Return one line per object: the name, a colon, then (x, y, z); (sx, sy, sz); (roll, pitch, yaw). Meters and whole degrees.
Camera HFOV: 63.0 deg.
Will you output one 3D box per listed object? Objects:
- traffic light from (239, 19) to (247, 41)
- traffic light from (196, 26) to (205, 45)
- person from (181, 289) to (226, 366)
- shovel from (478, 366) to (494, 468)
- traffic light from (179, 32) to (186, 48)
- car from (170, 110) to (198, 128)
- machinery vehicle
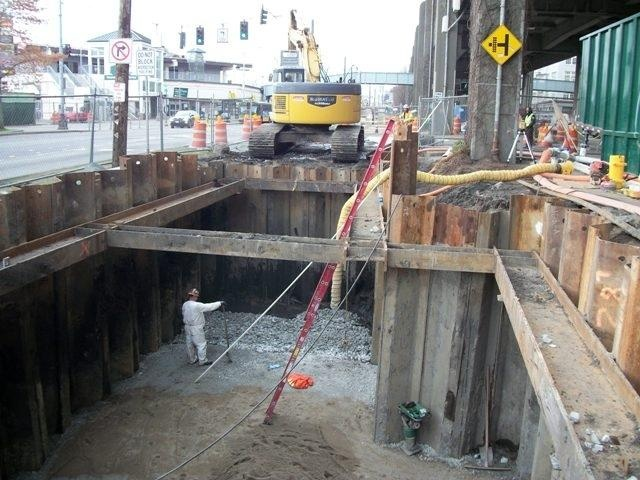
traffic light: (-4.507, -12.447, 30.961); (0.423, 1.080, 0.467); (-3, 13, -17)
traffic light: (-7.080, -12.074, 30.886); (0.389, 1.077, 0.832); (-4, 14, -19)
person: (-2.024, 1.465, 8.790); (0.621, 1.277, 0.327); (8, 14, 30)
shovel: (2.123, 2.213, 6.606); (0.114, 1.250, 0.221); (7, -8, -35)
traffic light: (-8.871, -12.880, 33.743); (0.277, 1.063, 1.608); (-3, 15, -18)
car: (-9.700, -8.696, 37.764); (1.112, 1.126, 2.757); (0, 14, 2)
machinery vehicle: (-0.230, -4.684, 15.848); (3.976, 4.914, 4.268); (-4, 10, -44)
